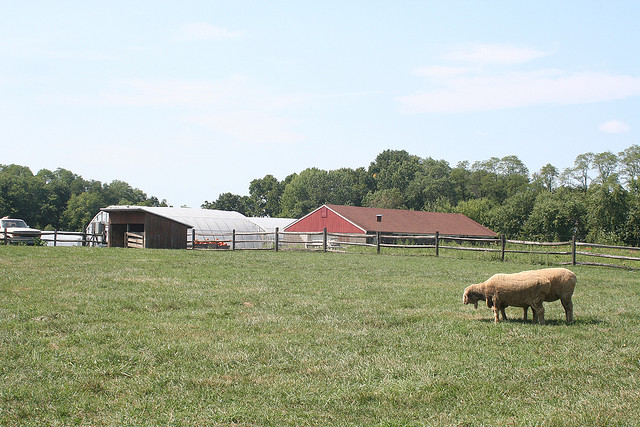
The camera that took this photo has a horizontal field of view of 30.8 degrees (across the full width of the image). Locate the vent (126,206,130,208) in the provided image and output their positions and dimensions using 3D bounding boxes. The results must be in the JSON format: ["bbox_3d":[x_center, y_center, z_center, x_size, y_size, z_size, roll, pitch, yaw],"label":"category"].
[{"bbox_3d":[-14.748,-0.843,89.585,0.089,0.107,0.157,-3,-2,40],"label":"vent"}]

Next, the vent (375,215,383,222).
[{"bbox_3d":[5.418,0.087,105.610,0.485,0.495,0.491,-2,-1,30],"label":"vent"}]

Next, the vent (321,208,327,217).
[{"bbox_3d":[0.451,-0.478,107.921,0.831,1.128,0.119,1,1,30],"label":"vent"}]
